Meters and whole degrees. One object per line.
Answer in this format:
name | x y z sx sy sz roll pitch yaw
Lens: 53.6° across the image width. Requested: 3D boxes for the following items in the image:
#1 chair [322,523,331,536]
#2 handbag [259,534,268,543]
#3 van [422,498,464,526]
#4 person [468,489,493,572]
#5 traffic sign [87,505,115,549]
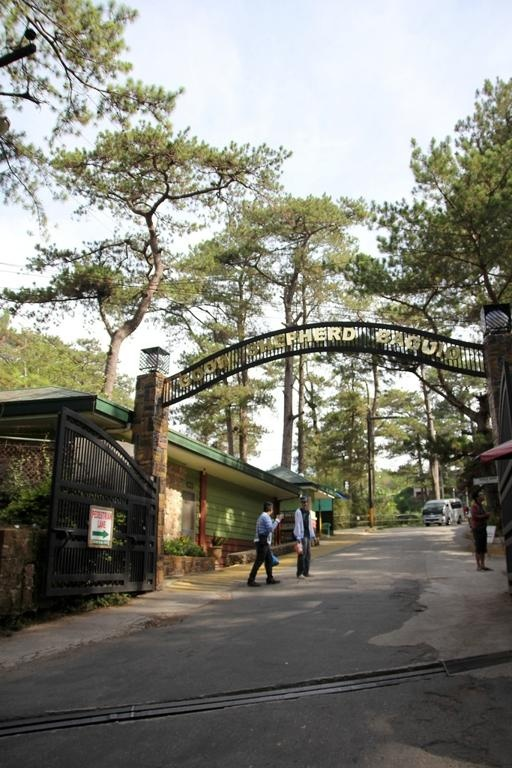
chair | 4.714 9.662 33.695 0.492 0.673 0.679 -4 -9 16
handbag | 0.168 3.388 11.106 0.151 0.261 0.142 -6 -13 33
van | 15.460 10.813 42.525 2.175 1.977 4.251 -10 -23 30
person | 5.216 3.397 11.792 0.375 1.754 1.315 -6 -14 22
traffic sign | -2.525 2.307 8.190 0.105 0.676 0.772 -7 -10 17
